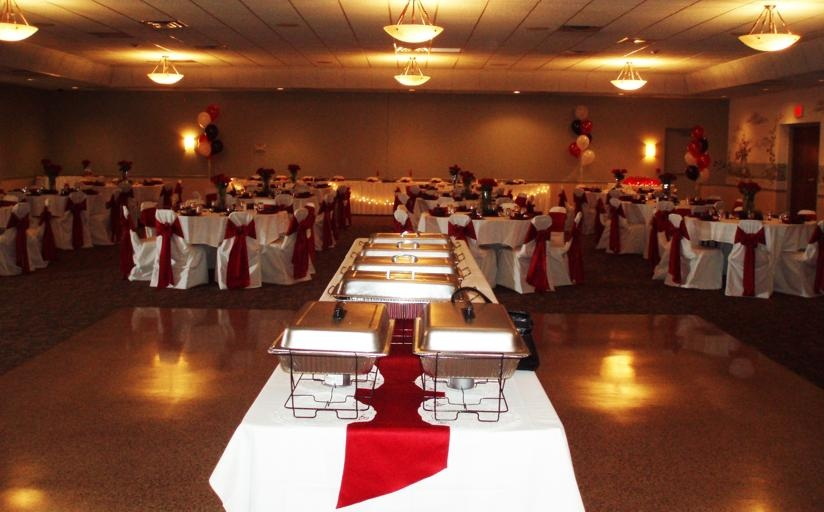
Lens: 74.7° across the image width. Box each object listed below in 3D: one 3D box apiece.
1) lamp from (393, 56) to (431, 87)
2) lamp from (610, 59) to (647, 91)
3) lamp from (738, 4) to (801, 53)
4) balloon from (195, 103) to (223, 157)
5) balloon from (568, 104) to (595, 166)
[{"bbox_3d":[0.015,-4.611,13.298,1.270,0.802,1.230,1,22,2],"label":"lamp"},{"bbox_3d":[5.402,-4.588,13.455,0.984,0.629,0.925,-12,22,-30],"label":"lamp"},{"bbox_3d":[5.763,-3.743,8.704,1.036,0.629,1.083,9,14,42],"label":"lamp"},{"bbox_3d":[-6.122,-3.758,16.261,0.644,1.591,0.912,4,16,12],"label":"balloon"},{"bbox_3d":[5.147,-3.654,16.403,0.756,1.812,0.779,4,16,13],"label":"balloon"}]
